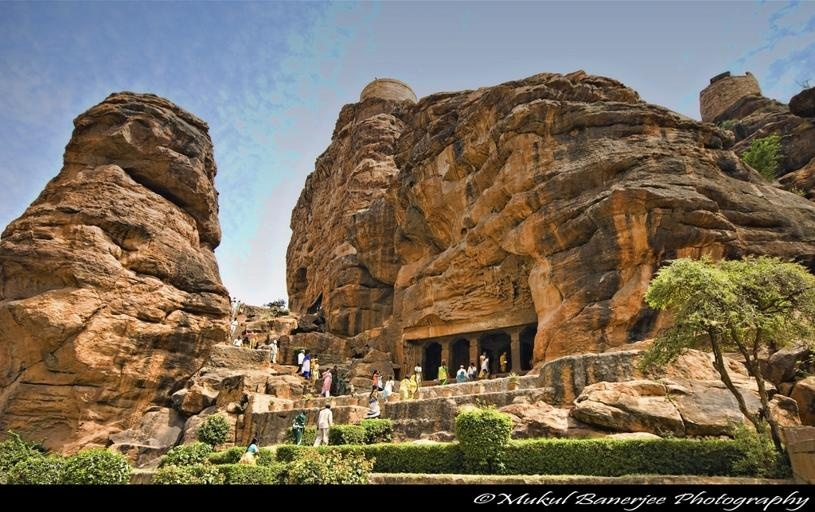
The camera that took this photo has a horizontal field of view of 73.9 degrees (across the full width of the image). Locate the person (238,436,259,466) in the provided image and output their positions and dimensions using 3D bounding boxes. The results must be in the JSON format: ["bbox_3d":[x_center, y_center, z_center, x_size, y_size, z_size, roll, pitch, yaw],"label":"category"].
[{"bbox_3d":[-5.428,6.720,18.802,0.558,0.784,1.126,4,-22,-13],"label":"person"}]

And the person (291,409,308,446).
[{"bbox_3d":[-4.185,6.554,20.807,0.519,1.164,0.487,4,-23,-12],"label":"person"}]

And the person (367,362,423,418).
[{"bbox_3d":[-0.616,6.082,24.184,1.216,1.333,3.940,-2,-12,17],"label":"person"}]

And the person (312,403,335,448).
[{"bbox_3d":[-3.072,6.089,19.771,0.618,1.562,1.335,3,-23,-9],"label":"person"}]
